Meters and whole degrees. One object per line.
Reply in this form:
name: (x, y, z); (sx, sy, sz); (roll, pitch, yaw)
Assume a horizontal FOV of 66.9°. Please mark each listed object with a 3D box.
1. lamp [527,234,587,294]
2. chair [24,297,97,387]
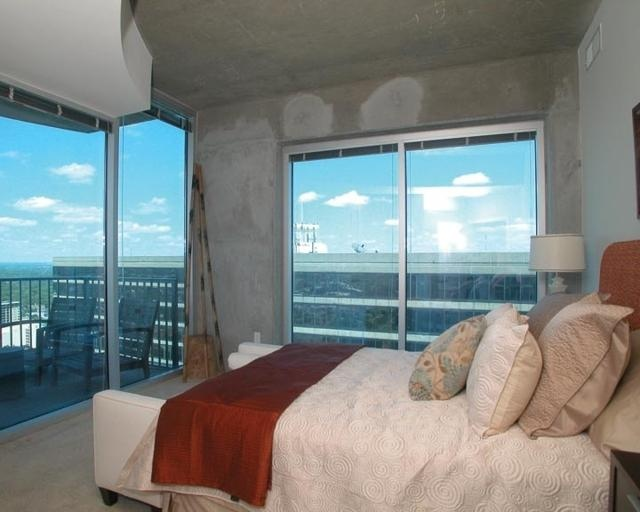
lamp: (1.879, 0.134, 3.861); (0.372, 0.629, 0.385); (0, 3, 8)
chair: (-2.204, 0.729, 4.278); (0.575, 0.866, 0.599); (-1, -6, 5)
